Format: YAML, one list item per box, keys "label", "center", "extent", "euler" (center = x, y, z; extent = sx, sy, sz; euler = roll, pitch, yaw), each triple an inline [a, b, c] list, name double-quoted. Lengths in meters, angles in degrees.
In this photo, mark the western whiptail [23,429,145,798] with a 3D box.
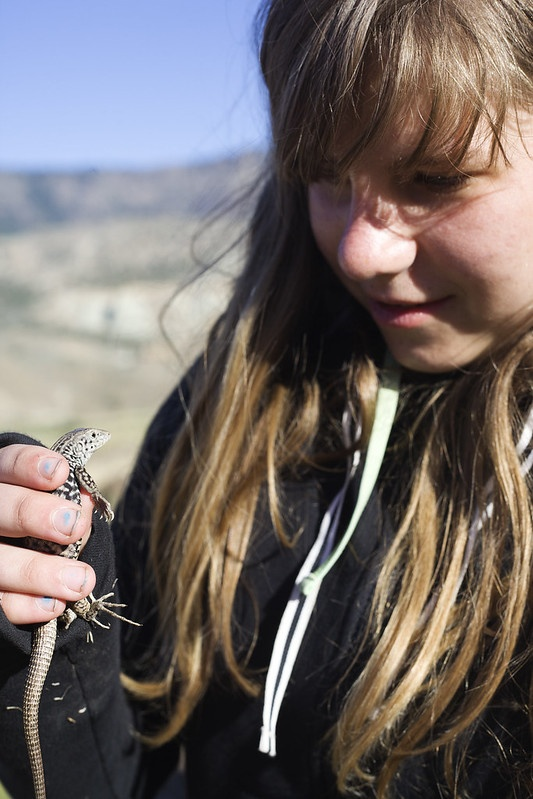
- label: "western whiptail"
  center: [-0.421, 0.419, 1.807]
  extent: [0.318, 0.734, 0.173]
  euler: [16, 15, 29]
